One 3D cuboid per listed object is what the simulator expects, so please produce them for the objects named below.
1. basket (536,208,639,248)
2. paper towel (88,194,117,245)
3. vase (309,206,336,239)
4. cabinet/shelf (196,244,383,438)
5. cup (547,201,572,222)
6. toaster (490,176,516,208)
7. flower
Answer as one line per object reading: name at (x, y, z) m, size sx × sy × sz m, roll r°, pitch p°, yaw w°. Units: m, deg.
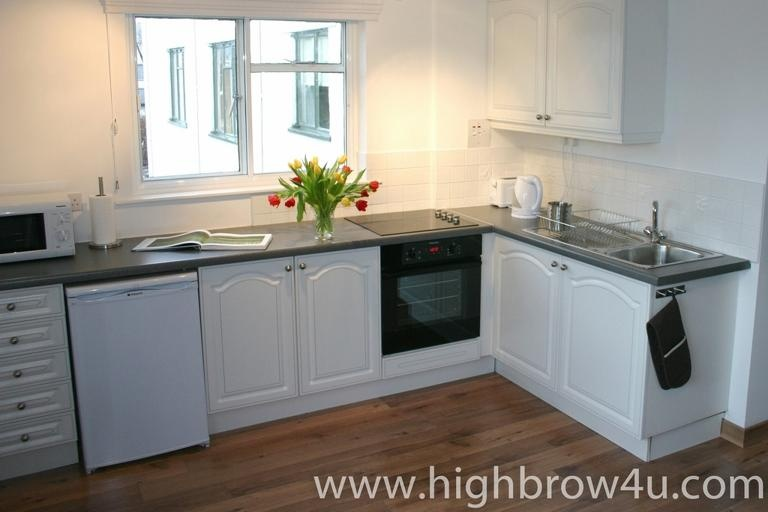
basket at (1.471, -0.179, 4.070) m, size 0.447 × 0.100 × 0.401 m, roll -9°, pitch 21°, yaw -20°
paper towel at (-1.847, -0.239, 3.764) m, size 0.168 × 0.327 × 0.115 m, roll -9°, pitch 15°, yaw -20°
vase at (-0.410, -0.248, 4.044) m, size 0.185 × 0.236 × 0.204 m, roll 6°, pitch 14°, yaw 21°
cabinet/shelf at (-0.667, 0.540, 3.832) m, size 1.185 × 0.990 × 0.445 m, roll -7°, pitch 14°, yaw -23°
cup at (1.296, -0.331, 4.296) m, size 0.156 × 0.157 × 0.161 m, roll -2°, pitch 15°, yaw 1°
toaster at (0.962, -0.555, 4.810) m, size 0.235 × 0.219 × 0.230 m, roll -10°, pitch 22°, yaw -23°
flower at (-0.422, -0.509, 4.086) m, size 0.645 × 0.434 × 0.589 m, roll -13°, pitch 25°, yaw -32°
